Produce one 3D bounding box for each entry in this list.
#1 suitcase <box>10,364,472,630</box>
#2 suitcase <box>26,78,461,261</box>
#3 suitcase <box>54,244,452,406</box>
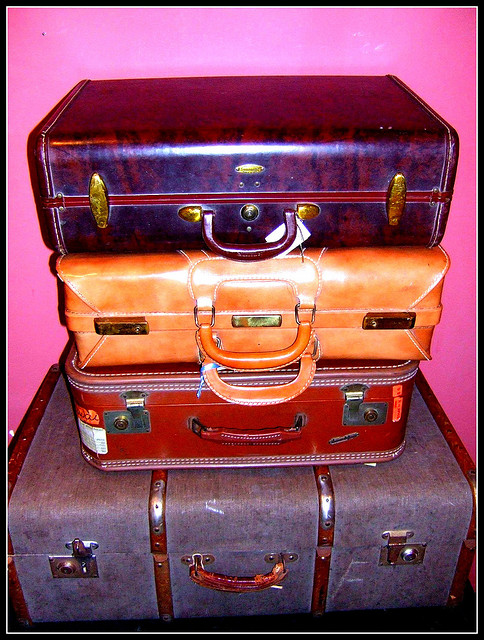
[{"bbox_3d":[-0.006,0.407,1.404,0.665,0.271,0.520,-1,29,-2],"label":"suitcase"},{"bbox_3d":[-0.002,-0.305,1.109,0.746,0.243,0.431,-4,32,-3],"label":"suitcase"},{"bbox_3d":[0.022,0.007,1.035,0.726,0.239,0.207,-2,32,0],"label":"suitcase"}]
